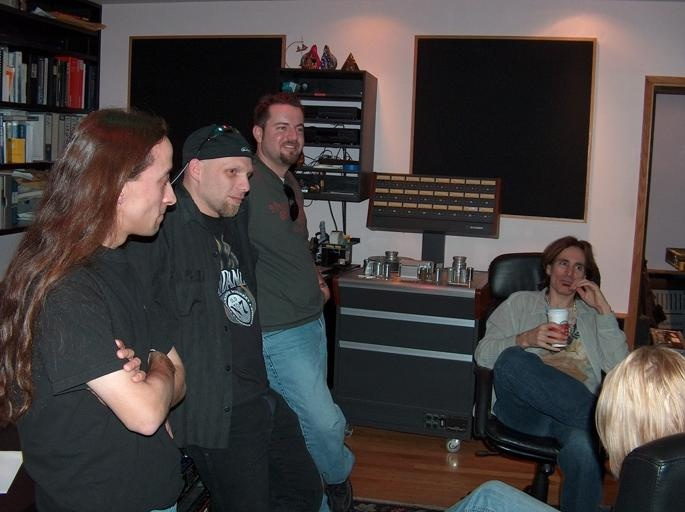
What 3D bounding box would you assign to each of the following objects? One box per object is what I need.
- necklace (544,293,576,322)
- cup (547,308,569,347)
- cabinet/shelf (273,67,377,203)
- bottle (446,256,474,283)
[{"bbox_3d":[1.074,0.264,2.822,0.181,0.136,0.149,1,4,29],"label":"necklace"},{"bbox_3d":[1.057,0.350,2.768,0.117,0.190,0.118,6,-4,0],"label":"cup"},{"bbox_3d":[-0.087,-0.932,4.538,0.683,0.939,0.491,5,2,23],"label":"cabinet/shelf"},{"bbox_3d":[0.756,0.094,3.610,0.151,0.165,0.158,4,9,5],"label":"bottle"}]
